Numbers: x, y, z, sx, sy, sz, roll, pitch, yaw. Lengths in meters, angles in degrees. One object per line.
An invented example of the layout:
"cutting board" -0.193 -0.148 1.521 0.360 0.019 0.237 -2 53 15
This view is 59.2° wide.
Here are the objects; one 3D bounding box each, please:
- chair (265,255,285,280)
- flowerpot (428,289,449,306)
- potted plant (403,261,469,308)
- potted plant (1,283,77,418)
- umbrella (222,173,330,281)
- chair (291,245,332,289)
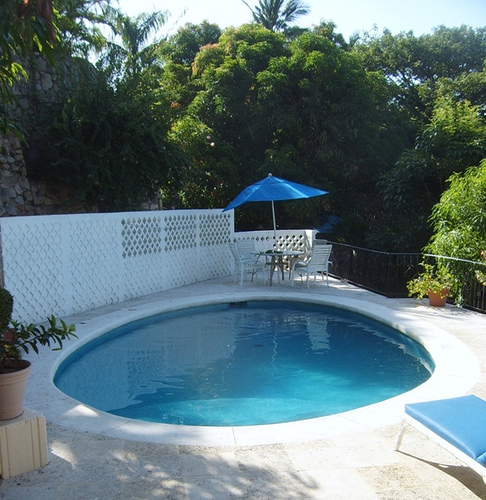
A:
"chair" 0.991 0.514 12.379 0.593 0.935 0.612 -1 -3 -23
"flowerpot" 4.106 0.990 8.966 0.302 0.284 0.347 1 -5 -2
"potted plant" 4.149 0.794 9.199 0.689 0.696 0.961 -1 -9 8
"potted plant" -2.410 1.169 5.018 1.232 1.419 0.851 1 1 33
"umbrella" 0.778 -1.141 10.995 1.905 2.096 1.923 -14 -18 30
"chair" 1.877 0.452 11.457 0.803 1.099 0.724 -1 0 -29
